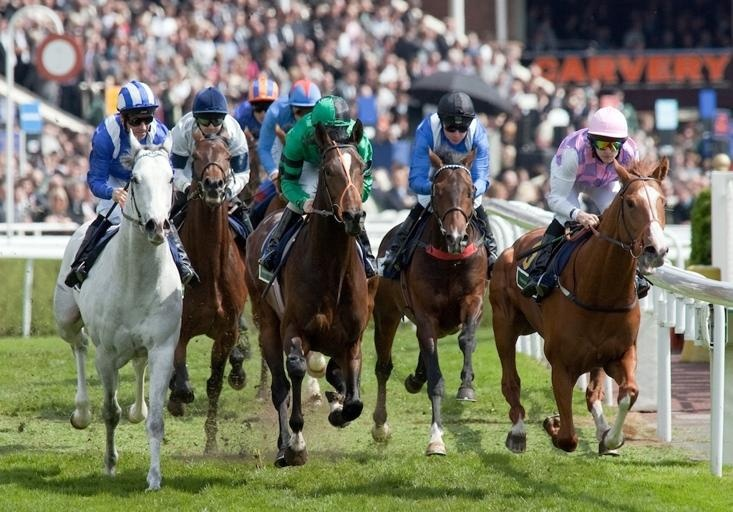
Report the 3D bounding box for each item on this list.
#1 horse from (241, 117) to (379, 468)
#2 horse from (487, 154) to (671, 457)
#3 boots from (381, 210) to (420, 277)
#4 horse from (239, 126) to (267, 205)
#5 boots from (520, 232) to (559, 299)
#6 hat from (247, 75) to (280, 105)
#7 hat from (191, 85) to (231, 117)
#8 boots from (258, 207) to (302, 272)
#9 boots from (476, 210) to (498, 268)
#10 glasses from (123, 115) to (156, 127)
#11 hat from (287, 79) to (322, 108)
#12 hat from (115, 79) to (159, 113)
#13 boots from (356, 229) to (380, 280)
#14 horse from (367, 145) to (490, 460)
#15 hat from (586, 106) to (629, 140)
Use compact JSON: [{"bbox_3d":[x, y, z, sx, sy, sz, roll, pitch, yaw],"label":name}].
[{"bbox_3d":[-0.466,0.340,11.744,0.981,3.144,1.483,-2,14,-6],"label":"horse"},{"bbox_3d":[1.890,0.595,12.108,0.958,2.779,3.787,1,1,-11],"label":"horse"},{"bbox_3d":[0.334,-0.162,12.658,0.215,0.482,0.872,25,25,-13],"label":"boots"},{"bbox_3d":[-1.273,-1.022,14.984,0.178,1.000,0.587,-6,6,-39],"label":"horse"},{"bbox_3d":[1.566,0.096,11.939,0.216,0.153,0.573,29,35,0],"label":"boots"},{"bbox_3d":[-1.174,-1.875,14.965,0.325,0.273,0.408,-2,15,-6],"label":"hat"},{"bbox_3d":[-1.465,-1.454,12.385,0.328,0.258,0.208,-3,15,-8],"label":"hat"},{"bbox_3d":[-0.768,-0.142,11.911,0.138,0.582,0.170,32,-20,-14],"label":"boots"},{"bbox_3d":[1.117,-0.192,12.742,0.156,0.467,0.343,-21,37,0],"label":"boots"},{"bbox_3d":[-2.062,-1.242,12.007,0.237,0.099,0.107,-5,16,-18],"label":"glasses"},{"bbox_3d":[-0.658,-1.727,13.936,0.313,0.325,0.481,0,15,-9],"label":"hat"},{"bbox_3d":[-2.071,-1.447,11.932,0.236,0.220,0.323,-1,6,-27],"label":"hat"},{"bbox_3d":[0.007,-0.015,12.463,0.105,0.517,0.272,-9,11,20],"label":"boots"},{"bbox_3d":[0.629,0.397,12.322,1.162,2.750,1.651,-7,16,-24],"label":"horse"},{"bbox_3d":[2.155,-1.192,11.836,0.349,0.294,0.250,2,15,7],"label":"hat"}]
